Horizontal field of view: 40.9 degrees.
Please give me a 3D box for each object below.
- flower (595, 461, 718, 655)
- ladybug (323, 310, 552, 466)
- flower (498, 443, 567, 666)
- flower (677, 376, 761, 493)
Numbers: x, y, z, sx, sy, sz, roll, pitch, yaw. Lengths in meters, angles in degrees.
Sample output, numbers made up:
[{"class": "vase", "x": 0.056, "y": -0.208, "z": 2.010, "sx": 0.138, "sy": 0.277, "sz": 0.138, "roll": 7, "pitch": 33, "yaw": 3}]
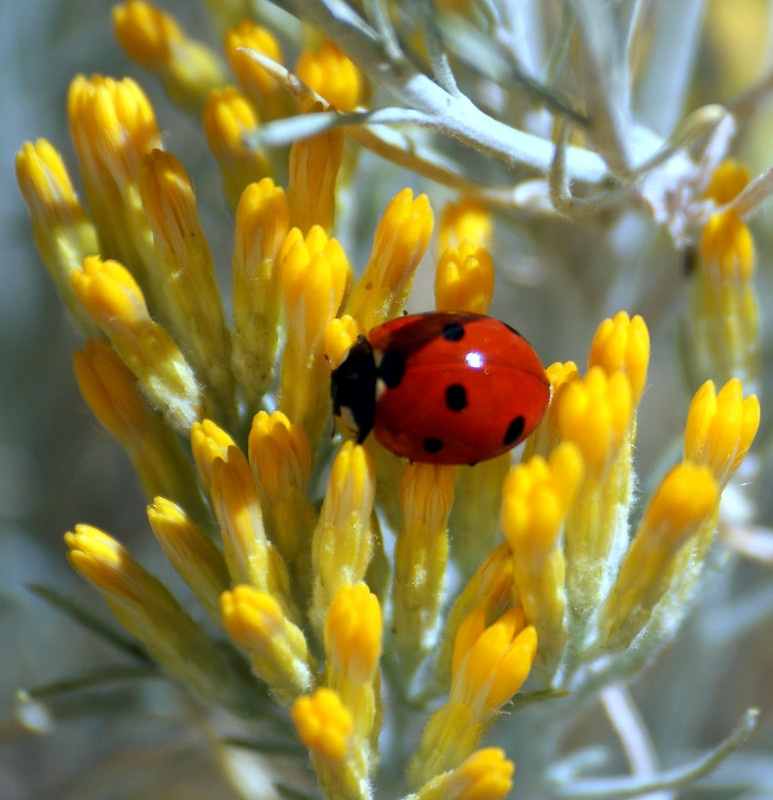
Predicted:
[{"class": "flower", "x": 0.240, "y": 0.099, "z": 0.862, "sx": 0.062, "sy": 0.069, "sz": 0.223, "roll": -12, "pitch": 11, "yaw": 29}, {"class": "ladybug", "x": 0.044, "y": -0.021, "z": 0.839, "sx": 0.153, "sy": 0.137, "sz": 0.061, "roll": -1, "pitch": -12, "yaw": -5}, {"class": "flower", "x": 0.126, "y": 0.135, "z": 0.792, "sx": 0.054, "sy": 0.209, "sz": 0.048, "roll": -5, "pitch": 30, "yaw": 10}, {"class": "flower", "x": 0.258, "y": 0.024, "z": 0.802, "sx": 0.050, "sy": 0.082, "sz": 0.037, "roll": 16, "pitch": 31, "yaw": 14}]
